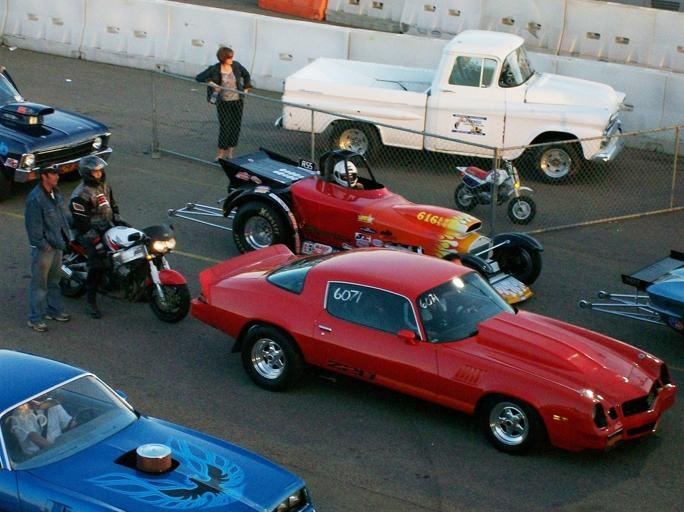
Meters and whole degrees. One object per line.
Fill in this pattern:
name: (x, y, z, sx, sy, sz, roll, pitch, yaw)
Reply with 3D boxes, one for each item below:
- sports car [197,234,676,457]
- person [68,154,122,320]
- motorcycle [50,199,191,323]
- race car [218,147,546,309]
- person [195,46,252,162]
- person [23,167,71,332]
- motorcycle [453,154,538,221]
sports car: (0.842, 0.880, 9.356, 5.841, 1.341, 2.290, 10, 23, 22)
person: (-3.587, -0.275, 10.927, 0.697, 2.291, 0.811, 5, 20, -12)
motorcycle: (-3.278, 0.165, 11.273, 3.044, 1.223, 0.962, 9, 9, 37)
race car: (0.411, -0.668, 12.461, 5.276, 1.421, 2.096, 20, 32, 28)
person: (-2.517, -3.392, 16.615, 1.184, 2.422, 1.315, 1, 4, -1)
person: (-4.066, -0.103, 10.446, 0.598, 2.296, 0.743, 2, 21, -20)
motorcycle: (2.985, -1.272, 14.513, 0.858, 1.049, 2.085, -9, 19, -32)
